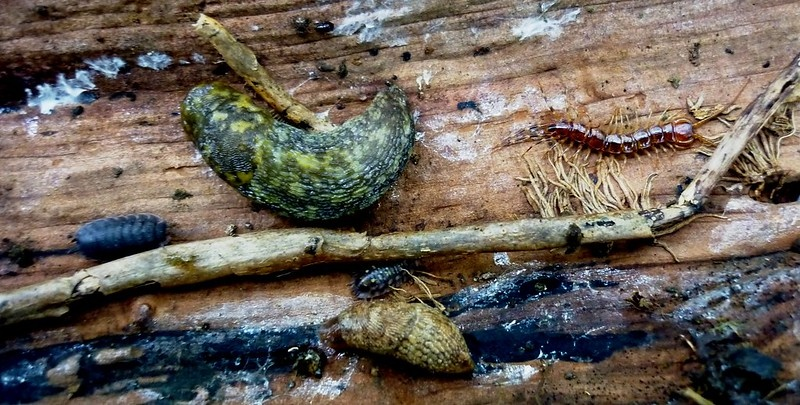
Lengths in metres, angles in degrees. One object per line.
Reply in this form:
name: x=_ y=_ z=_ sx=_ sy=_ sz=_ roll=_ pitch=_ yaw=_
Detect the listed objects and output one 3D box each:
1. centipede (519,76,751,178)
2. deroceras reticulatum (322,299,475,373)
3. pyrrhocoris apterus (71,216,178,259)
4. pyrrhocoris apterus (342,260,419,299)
centipede: x=3.300 y=-1.006 z=9.469 sx=3.222 sy=0.774 sz=0.384 roll=-12 pitch=30 yaw=4
deroceras reticulatum: x=0.039 y=1.825 z=9.182 sx=2.179 sy=0.683 sz=0.948 roll=16 pitch=32 yaw=8
pyrrhocoris apterus: x=-3.928 y=0.454 z=9.163 sx=1.215 sy=0.505 sz=0.396 roll=-17 pitch=29 yaw=-5
pyrrhocoris apterus: x=-0.238 y=1.082 z=9.313 sx=1.023 sy=0.470 sz=0.249 roll=-16 pitch=30 yaw=-2
